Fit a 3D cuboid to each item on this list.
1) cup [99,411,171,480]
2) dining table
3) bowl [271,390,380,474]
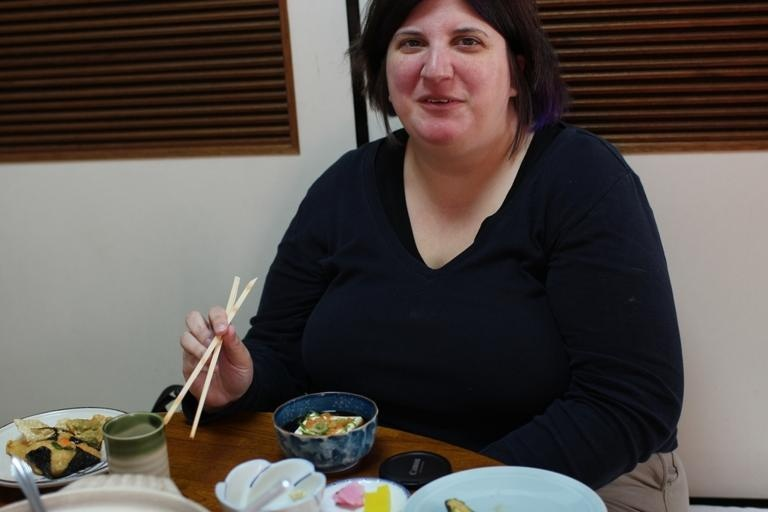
[{"bbox_3d":[-0.534,0.410,1.443,0.114,0.153,0.129,0,9,1],"label":"cup"},{"bbox_3d":[-0.236,0.428,1.631,0.583,0.193,0.455,-1,8,-27],"label":"dining table"},{"bbox_3d":[-0.147,0.431,1.601,0.246,0.135,0.193,1,17,-10],"label":"bowl"}]
